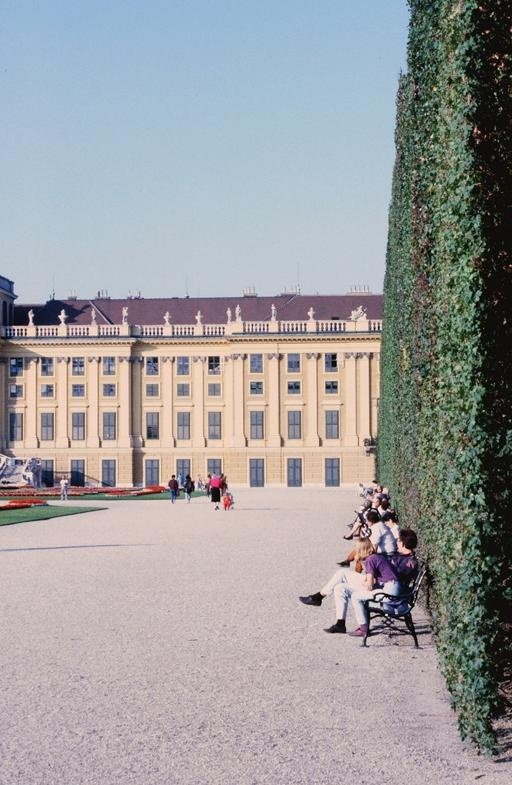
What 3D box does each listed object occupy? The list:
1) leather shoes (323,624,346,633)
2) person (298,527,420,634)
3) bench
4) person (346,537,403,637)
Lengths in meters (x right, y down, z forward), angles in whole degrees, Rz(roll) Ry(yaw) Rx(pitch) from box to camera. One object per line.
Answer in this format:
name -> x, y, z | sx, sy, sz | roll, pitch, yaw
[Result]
leather shoes -> 0.940, 2.730, 12.526 | 0.250, 0.138, 0.106 | 2, -8, 5
person -> 1.159, 2.147, 12.424 | 1.138, 1.458, 0.573 | 2, 10, 5
bench -> 1.577, 2.398, 12.123 | 0.417, 0.701, 0.439 | 3, -6, 22
person -> 1.386, 2.317, 12.498 | 0.743, 1.559, 0.617 | -1, -11, 16
